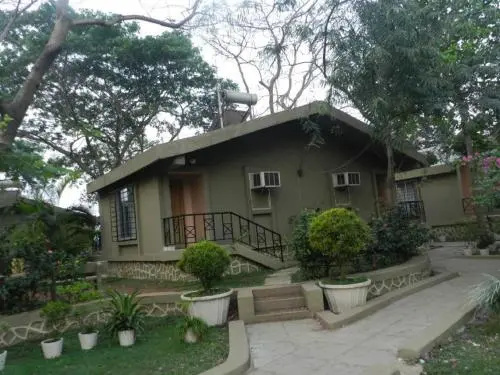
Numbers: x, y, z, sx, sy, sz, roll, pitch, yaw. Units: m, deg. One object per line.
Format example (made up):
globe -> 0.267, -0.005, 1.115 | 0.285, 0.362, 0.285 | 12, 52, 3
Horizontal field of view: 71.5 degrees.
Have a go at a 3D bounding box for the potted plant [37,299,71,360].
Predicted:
potted plant -> -3.780, 2.759, 6.680 | 0.647, 1.152, 0.545 | 0, -12, -7

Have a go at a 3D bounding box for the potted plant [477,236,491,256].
potted plant -> 8.550, 2.058, 12.639 | 0.487, 0.706, 0.788 | -8, -9, 35

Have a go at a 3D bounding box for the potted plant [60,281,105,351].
potted plant -> -3.499, 2.705, 7.224 | 0.634, 1.721, 0.731 | 1, -12, -18

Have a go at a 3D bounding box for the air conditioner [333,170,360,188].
air conditioner -> 3.951, -0.321, 14.171 | 0.713, 0.511, 0.753 | 3, -8, -29

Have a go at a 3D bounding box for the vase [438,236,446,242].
vase -> 9.873, 2.644, 17.876 | 0.287, 0.253, 0.287 | -4, -3, 8

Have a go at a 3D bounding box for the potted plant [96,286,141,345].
potted plant -> -2.401, 2.469, 6.661 | 0.720, 0.976, 0.509 | -3, -7, -1

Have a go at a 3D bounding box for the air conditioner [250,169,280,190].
air conditioner -> 0.506, -0.281, 12.220 | 1.075, 0.578, 0.522 | -3, -7, -4

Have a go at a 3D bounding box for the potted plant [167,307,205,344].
potted plant -> -1.088, 2.566, 6.476 | 0.413, 0.472, 0.430 | -2, -3, 8
